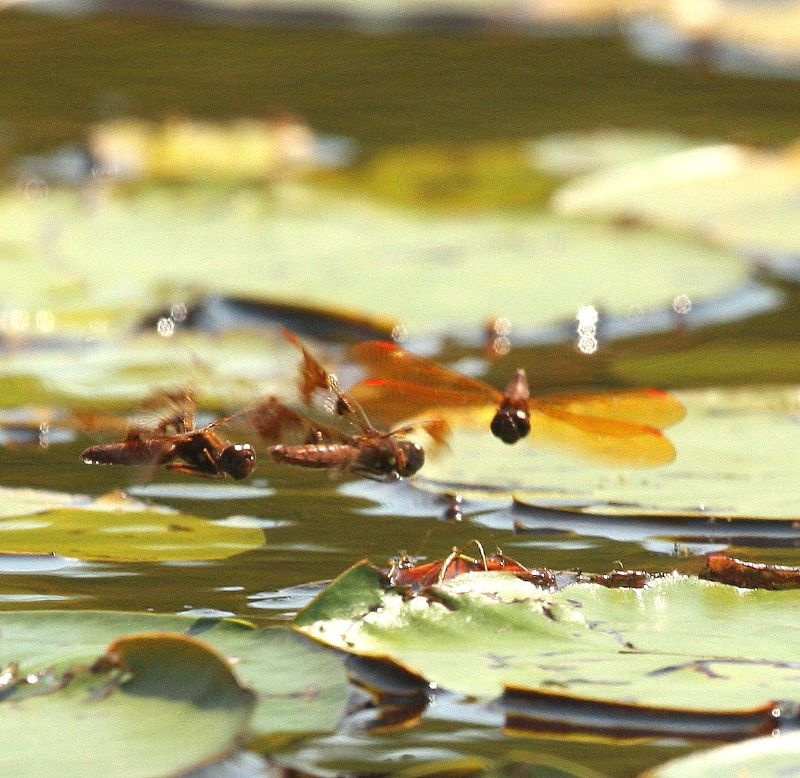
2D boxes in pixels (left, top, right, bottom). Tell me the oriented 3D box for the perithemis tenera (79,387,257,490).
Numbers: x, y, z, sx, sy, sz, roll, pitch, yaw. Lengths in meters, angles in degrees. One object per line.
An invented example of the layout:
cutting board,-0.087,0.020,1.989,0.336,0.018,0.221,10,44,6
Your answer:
perithemis tenera,-0.330,0.089,1.682,0.243,0.060,0.183,-11,-22,12

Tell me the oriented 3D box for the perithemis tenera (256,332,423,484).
perithemis tenera,-0.080,0.036,1.716,0.287,0.210,0.127,29,30,-28
